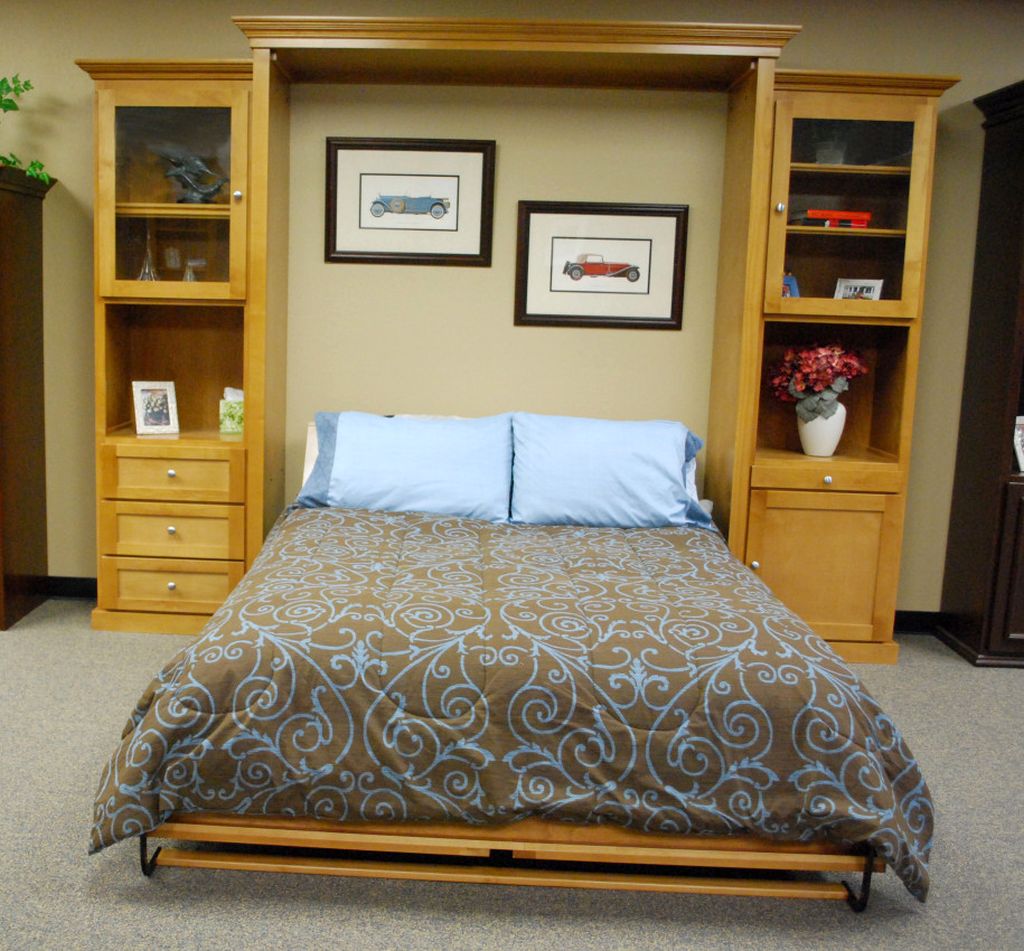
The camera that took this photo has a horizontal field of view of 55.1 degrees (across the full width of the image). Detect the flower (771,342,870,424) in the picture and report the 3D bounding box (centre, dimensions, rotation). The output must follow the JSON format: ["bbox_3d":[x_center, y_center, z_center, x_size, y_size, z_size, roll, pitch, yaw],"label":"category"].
[{"bbox_3d":[1.243,-0.375,4.050,0.386,0.237,0.357,0,3,10],"label":"flower"}]

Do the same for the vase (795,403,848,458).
[{"bbox_3d":[1.244,-0.183,3.960,0.226,0.227,0.225,-5,8,-38],"label":"vase"}]

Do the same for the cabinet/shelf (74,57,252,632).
[{"bbox_3d":[-1.347,-0.574,4.134,0.805,2.160,0.526,6,22,-5],"label":"cabinet/shelf"}]

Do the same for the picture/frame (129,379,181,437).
[{"bbox_3d":[-1.487,-0.280,4.070,0.255,0.297,0.026,-8,1,-35],"label":"picture/frame"}]
